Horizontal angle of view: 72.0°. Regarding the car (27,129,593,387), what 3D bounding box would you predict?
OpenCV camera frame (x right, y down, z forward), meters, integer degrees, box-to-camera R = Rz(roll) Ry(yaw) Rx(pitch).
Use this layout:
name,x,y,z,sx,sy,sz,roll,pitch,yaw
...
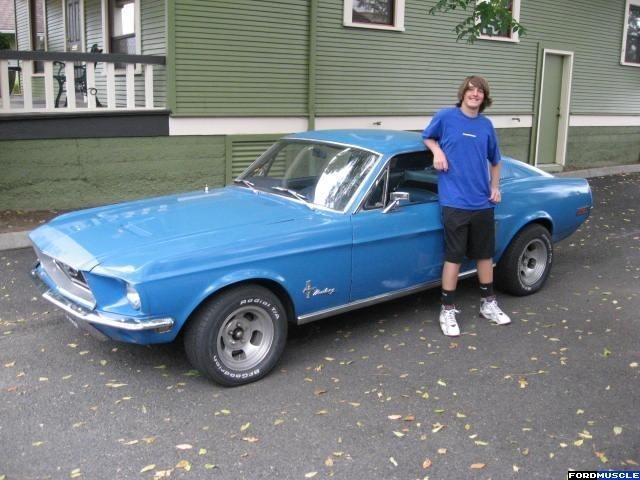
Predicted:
name,x,y,z,sx,sy,sz,roll,pitch,yaw
car,-0.571,0.009,4.000,3.319,1.965,1.397,-9,18,-32

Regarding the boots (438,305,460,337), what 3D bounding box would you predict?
name,x,y,z,sx,sy,sz,roll,pitch,yaw
boots,1.299,0.816,4.325,0.150,0.147,0.347,-3,12,-4
